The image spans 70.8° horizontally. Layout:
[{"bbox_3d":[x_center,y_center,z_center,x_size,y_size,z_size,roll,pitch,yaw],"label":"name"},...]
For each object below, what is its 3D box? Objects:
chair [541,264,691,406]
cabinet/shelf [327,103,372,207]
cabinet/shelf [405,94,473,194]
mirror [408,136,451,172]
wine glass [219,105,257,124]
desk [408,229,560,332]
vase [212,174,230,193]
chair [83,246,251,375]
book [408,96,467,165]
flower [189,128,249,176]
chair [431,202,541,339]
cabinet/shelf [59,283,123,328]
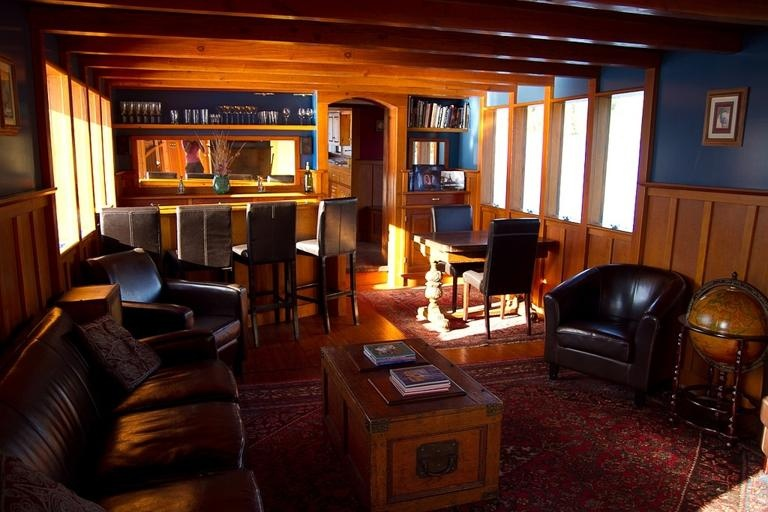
[{"bbox_3d":[2.274,0.651,5.161,1.069,0.998,1.102,-9,12,-40],"label":"chair"},{"bbox_3d":[-0.924,-2.237,11.611,0.554,1.800,2.277,-3,11,-9],"label":"cabinet/shelf"},{"bbox_3d":[0.879,-1.820,8.647,1.163,1.483,0.652,-4,12,-14],"label":"cabinet/shelf"},{"bbox_3d":[0.711,-1.679,8.753,0.726,0.567,0.050,-3,10,-21],"label":"mirror"},{"bbox_3d":[-2.211,-2.147,8.208,0.575,0.255,0.115,-4,12,-13],"label":"wine glass"},{"bbox_3d":[1.259,0.295,6.973,1.646,1.016,1.049,0,5,-22],"label":"desk"},{"bbox_3d":[-2.343,-1.041,7.767,0.214,0.288,0.285,-6,12,-21],"label":"vase"},{"bbox_3d":[-1.981,0.440,5.188,1.426,1.256,1.025,6,14,18],"label":"chair"},{"bbox_3d":[0.838,-2.076,8.710,1.124,0.950,0.339,-2,12,-15],"label":"book"},{"bbox_3d":[-2.436,-1.540,8.235,0.891,0.884,0.551,-6,36,-26],"label":"flower"},{"bbox_3d":[1.344,0.097,6.844,1.130,1.379,1.585,-4,12,-15],"label":"chair"},{"bbox_3d":[-2.230,0.421,4.174,0.435,0.391,0.314,5,25,-12],"label":"cabinet/shelf"}]
